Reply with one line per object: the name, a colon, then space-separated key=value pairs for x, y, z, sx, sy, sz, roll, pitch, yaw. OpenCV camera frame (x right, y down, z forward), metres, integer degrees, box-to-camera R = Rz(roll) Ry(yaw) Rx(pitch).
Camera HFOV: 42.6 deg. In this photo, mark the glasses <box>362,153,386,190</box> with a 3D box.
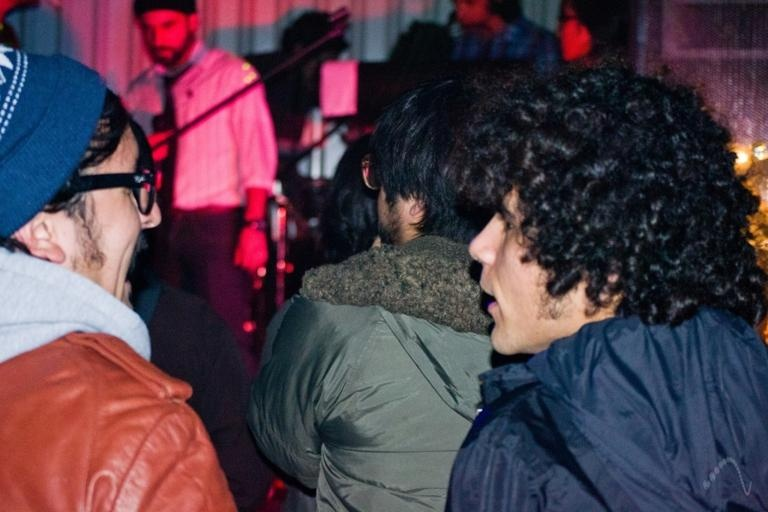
glasses: x=-0.046 y=-0.323 z=3.828 sx=0.046 sy=0.139 sz=0.098 roll=-8 pitch=-3 yaw=27
